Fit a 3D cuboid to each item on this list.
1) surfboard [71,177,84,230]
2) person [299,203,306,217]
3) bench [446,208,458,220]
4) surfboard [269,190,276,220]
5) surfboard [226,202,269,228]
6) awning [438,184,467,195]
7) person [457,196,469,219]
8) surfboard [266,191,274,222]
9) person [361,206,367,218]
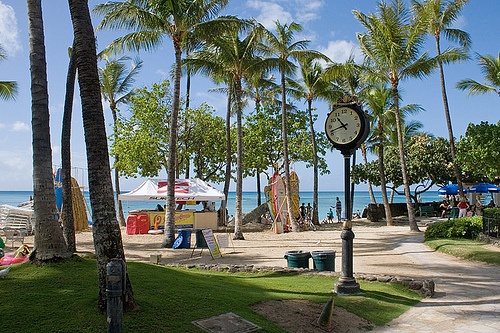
[{"bbox_3d":[-11.798,2.988,30.668,0.283,2.796,1.508,0,-7,-5],"label":"surfboard"},{"bbox_3d":[4.458,3.624,36.863,0.483,1.157,1.412,-1,-8,6],"label":"person"},{"bbox_3d":[15.369,3.553,33.284,0.612,0.639,1.416,-4,-9,25],"label":"bench"},{"bbox_3d":[1.674,2.707,32.496,0.244,2.578,0.273,-9,5,-21],"label":"surfboard"},{"bbox_3d":[0.460,3.940,37.071,2.786,1.919,0.801,6,-9,-40],"label":"surfboard"},{"bbox_3d":[17.058,1.973,37.166,1.268,0.575,1.342,-1,-6,7],"label":"awning"},{"bbox_3d":[14.393,2.698,29.753,0.539,1.385,1.548,-3,-8,25],"label":"person"},{"bbox_3d":[1.559,3.002,33.272,0.373,2.883,0.319,-17,31,-23],"label":"surfboard"},{"bbox_3d":[12.223,4.945,46.742,0.302,0.928,0.689,14,2,21],"label":"person"}]
